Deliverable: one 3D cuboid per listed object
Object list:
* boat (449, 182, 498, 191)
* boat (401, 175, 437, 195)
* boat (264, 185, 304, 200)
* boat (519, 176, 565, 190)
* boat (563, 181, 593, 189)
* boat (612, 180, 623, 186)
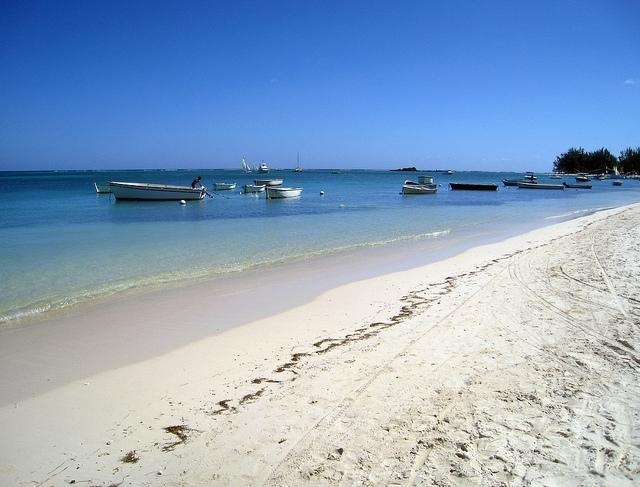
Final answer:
[{"bbox_3d":[22.296,-8.276,65.447,5.369,1.410,9.646,-1,6,12],"label":"boat"},{"bbox_3d":[12.483,-7.017,54.003,6.142,2.332,2.604,-8,15,-31],"label":"boat"},{"bbox_3d":[-3.762,-5.230,45.430,2.594,1.285,3.907,-2,6,9],"label":"boat"},{"bbox_3d":[34.344,-9.416,70.366,5.683,1.735,12.288,0,7,22],"label":"boat"},{"bbox_3d":[45.192,-10.247,78.057,3.724,1.294,20.441,1,7,30],"label":"boat"},{"bbox_3d":[56.360,-11.542,84.630,1.207,1.269,18.662,2,7,32],"label":"boat"}]
